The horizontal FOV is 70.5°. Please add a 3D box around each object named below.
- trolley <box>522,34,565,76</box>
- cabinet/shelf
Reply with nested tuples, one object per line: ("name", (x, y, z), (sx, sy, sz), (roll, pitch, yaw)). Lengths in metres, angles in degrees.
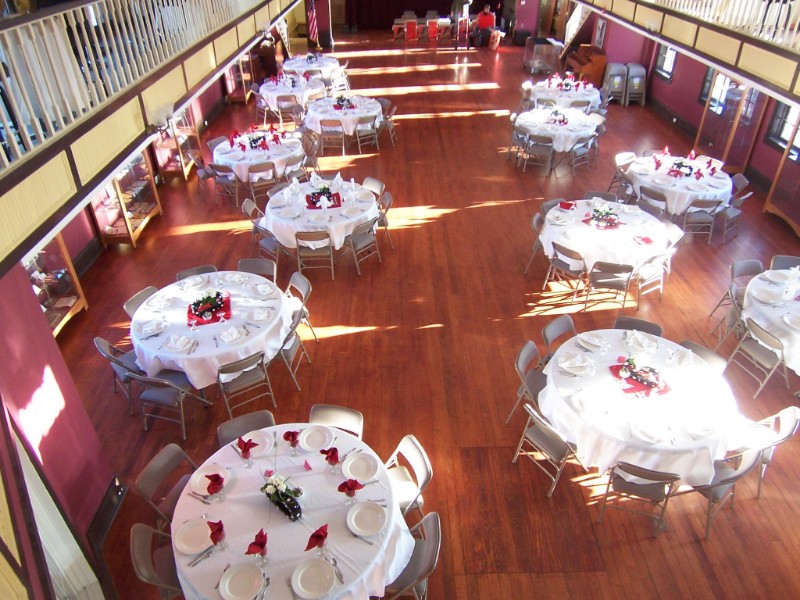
("trolley", (5.405, -9.335, 22.020), (1.278, 1.080, 1.434), (2, 19, 8))
("cabinet/shelf", (-5.636, -0.280, 9.264), (0.354, 1.483, 1.051), (8, 42, 7))
